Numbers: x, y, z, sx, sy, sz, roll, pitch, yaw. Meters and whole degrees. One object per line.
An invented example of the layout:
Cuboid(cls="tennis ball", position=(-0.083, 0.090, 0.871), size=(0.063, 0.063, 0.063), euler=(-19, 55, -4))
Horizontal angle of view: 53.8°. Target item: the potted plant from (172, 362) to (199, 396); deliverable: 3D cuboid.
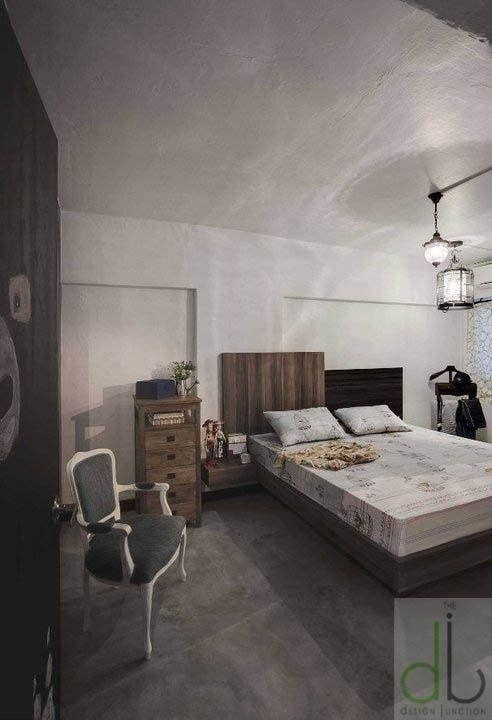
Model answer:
Cuboid(cls="potted plant", position=(-0.470, 0.143, 3.666), size=(0.185, 0.302, 0.229), euler=(0, -6, -9))

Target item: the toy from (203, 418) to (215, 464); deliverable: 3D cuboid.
Cuboid(cls="toy", position=(-0.294, 0.621, 3.738), size=(0.074, 0.320, 0.129), euler=(-2, 5, -31))

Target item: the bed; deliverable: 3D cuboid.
Cuboid(cls="bed", position=(1.028, 0.531, 3.557), size=(1.883, 1.104, 2.052), euler=(-3, 6, -30))

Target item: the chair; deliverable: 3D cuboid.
Cuboid(cls="chair", position=(-0.564, 0.854, 2.343), size=(0.412, 0.866, 0.586), euler=(-3, 6, 3))

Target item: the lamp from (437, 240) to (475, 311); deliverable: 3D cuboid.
Cuboid(cls="lamp", position=(1.544, -0.624, 3.577), size=(0.211, 0.420, 0.241), euler=(-2, -1, 0))
